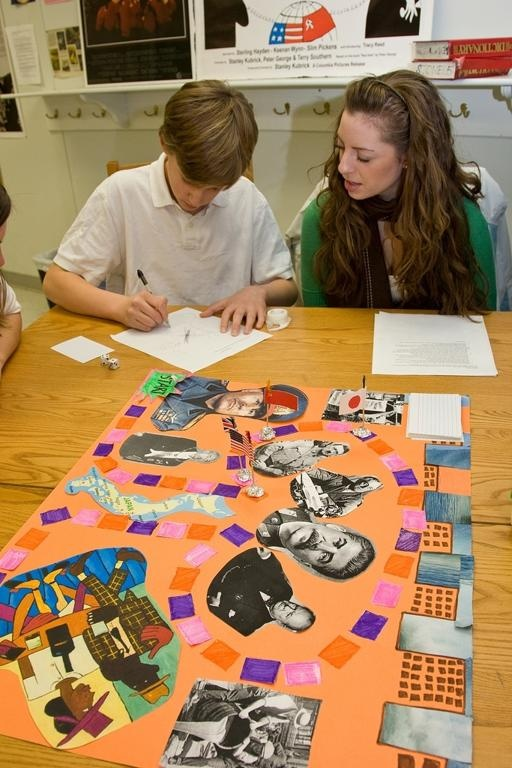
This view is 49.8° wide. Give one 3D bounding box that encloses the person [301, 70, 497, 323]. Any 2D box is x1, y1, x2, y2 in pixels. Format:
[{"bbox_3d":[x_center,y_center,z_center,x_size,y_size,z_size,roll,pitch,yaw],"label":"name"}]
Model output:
[{"bbox_3d":[0.390,-0.511,1.583,0.542,0.743,0.389,15,45,28],"label":"person"}]
